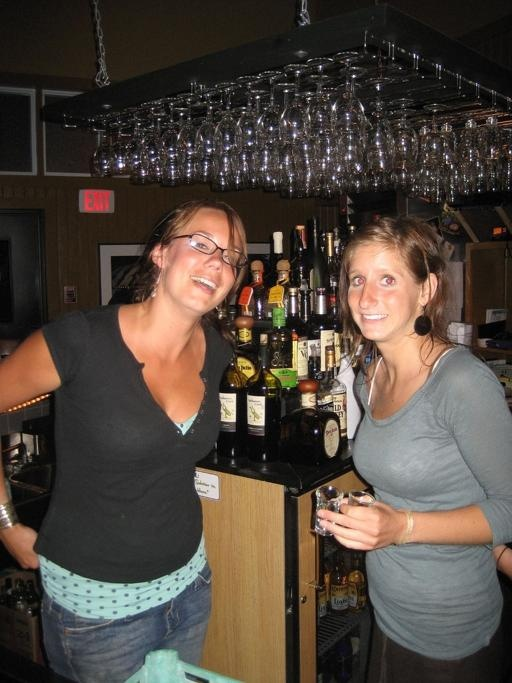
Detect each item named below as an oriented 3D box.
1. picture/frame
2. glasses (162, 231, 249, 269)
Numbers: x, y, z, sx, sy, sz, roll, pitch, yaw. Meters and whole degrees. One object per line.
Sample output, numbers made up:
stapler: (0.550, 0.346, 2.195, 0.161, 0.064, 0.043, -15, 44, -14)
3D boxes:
picture/frame: (-0.689, -0.539, 4.738, 1.067, 0.572, 0.023, -1, -13, -2)
glasses: (-0.092, -0.224, 1.342, 0.103, 0.028, 0.101, 24, -1, -43)
